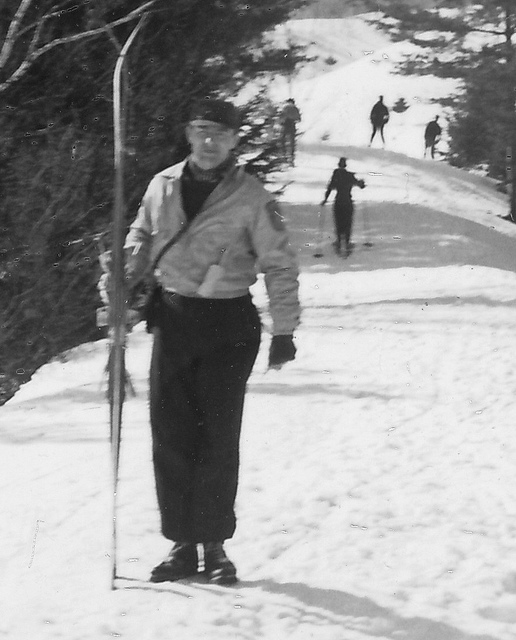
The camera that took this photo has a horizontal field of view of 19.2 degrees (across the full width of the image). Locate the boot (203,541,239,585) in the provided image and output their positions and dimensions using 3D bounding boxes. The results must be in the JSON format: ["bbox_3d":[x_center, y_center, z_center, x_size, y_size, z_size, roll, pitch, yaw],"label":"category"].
[{"bbox_3d":[-0.105,0.670,4.183,0.110,0.107,0.041,4,10,19],"label":"boot"}]

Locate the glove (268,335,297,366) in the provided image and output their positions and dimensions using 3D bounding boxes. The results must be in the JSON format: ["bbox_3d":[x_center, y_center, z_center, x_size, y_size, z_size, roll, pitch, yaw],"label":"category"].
[{"bbox_3d":[0.064,0.082,4.220,0.073,0.084,0.029,1,9,5],"label":"glove"}]

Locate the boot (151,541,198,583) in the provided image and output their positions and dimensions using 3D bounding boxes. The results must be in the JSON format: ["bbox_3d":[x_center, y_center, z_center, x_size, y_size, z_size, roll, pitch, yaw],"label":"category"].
[{"bbox_3d":[-0.233,0.675,4.221,0.126,0.103,0.041,0,9,-1],"label":"boot"}]
